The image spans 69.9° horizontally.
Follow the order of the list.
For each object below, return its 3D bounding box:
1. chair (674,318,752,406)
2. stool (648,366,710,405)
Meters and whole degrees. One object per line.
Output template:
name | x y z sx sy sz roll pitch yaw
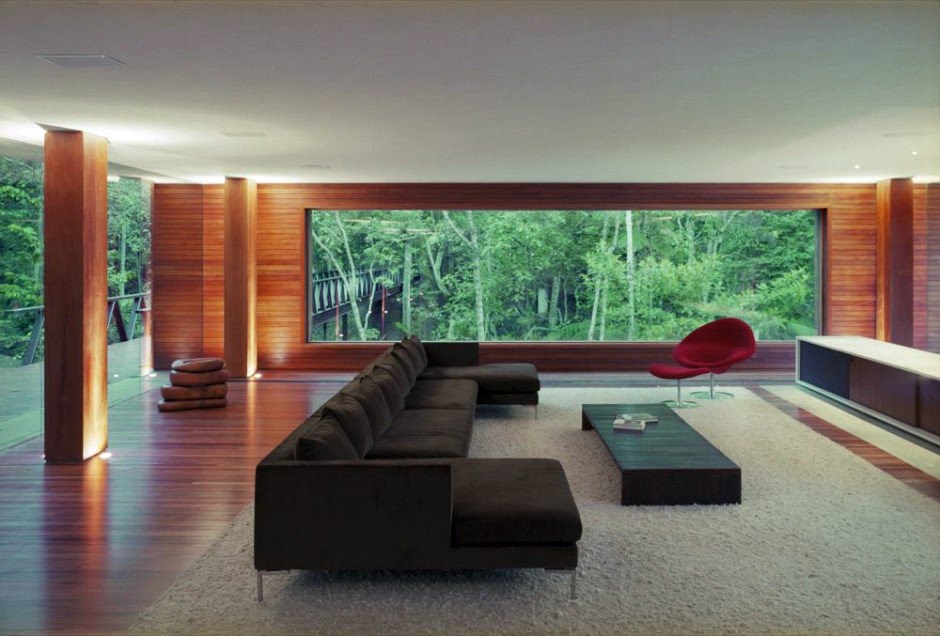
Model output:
chair | 3.104 0.512 8.578 1.008 0.872 0.867 -4 8 -12
stool | 2.542 0.825 8.170 0.820 0.435 0.552 2 -2 20
